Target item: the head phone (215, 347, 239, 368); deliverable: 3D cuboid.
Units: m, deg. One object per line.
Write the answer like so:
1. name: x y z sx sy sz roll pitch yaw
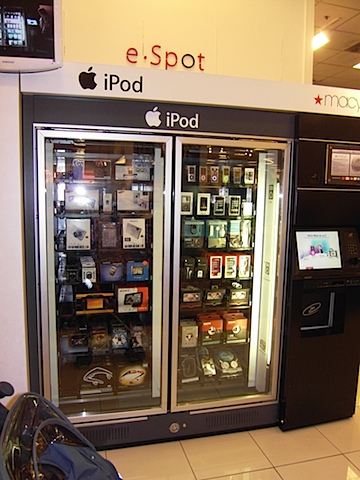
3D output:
1. head phone: 0.355 0.883 3.003 0.173 0.122 0.098 1 7 -2
